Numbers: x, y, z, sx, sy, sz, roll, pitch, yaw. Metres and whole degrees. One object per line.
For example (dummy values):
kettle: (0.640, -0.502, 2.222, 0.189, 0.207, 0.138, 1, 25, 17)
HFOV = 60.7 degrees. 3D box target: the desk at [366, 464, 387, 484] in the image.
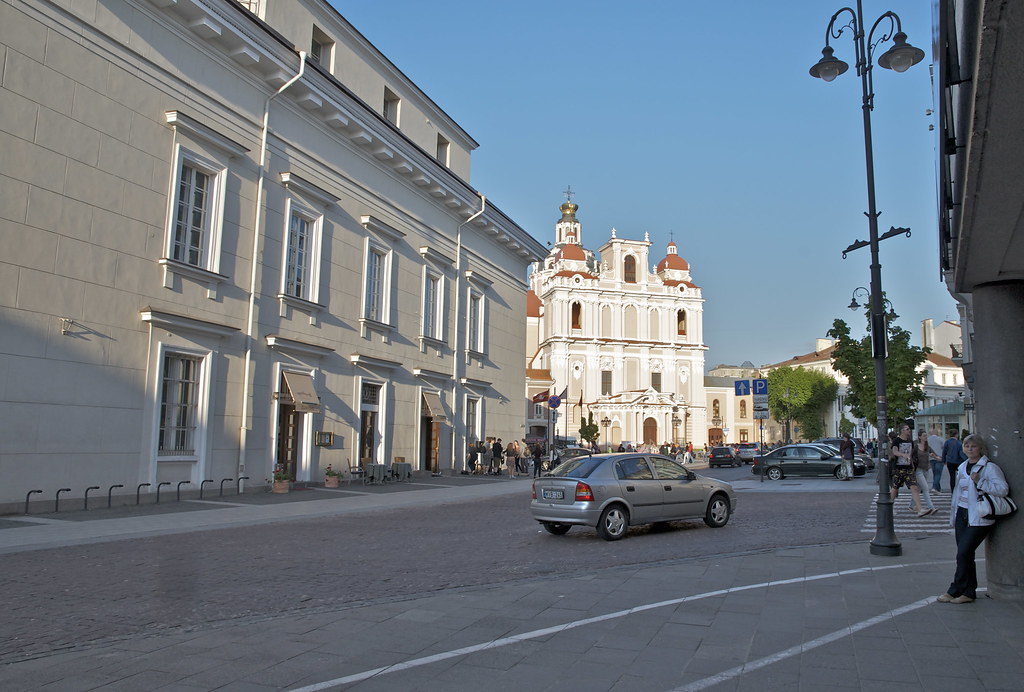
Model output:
desk: (-4.707, 4.432, 30.656, 0.279, 0.678, 1.386, 1, -1, 11)

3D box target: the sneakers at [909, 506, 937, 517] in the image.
sneakers: (10.759, 4.301, 22.758, 0.616, 0.238, 0.204, -15, 3, -16)

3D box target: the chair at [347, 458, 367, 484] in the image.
chair: (-5.409, 4.312, 29.977, 0.674, 0.925, 0.768, -3, -6, 25)

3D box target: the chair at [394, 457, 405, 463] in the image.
chair: (-4.211, 4.229, 32.764, 0.351, 0.204, 1.068, 1, -1, -4)

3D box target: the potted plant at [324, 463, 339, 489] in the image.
potted plant: (-5.899, 4.238, 28.483, 0.558, 0.814, 0.604, -1, 5, -6)

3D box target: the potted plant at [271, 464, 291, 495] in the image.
potted plant: (-6.975, 3.986, 26.377, 0.692, 1.040, 0.700, -2, -1, -2)

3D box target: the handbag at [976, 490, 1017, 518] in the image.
handbag: (7.280, 2.368, 13.138, 0.402, 0.386, 0.157, 4, -9, -3)

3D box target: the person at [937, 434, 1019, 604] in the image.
person: (7.012, 2.595, 13.219, 1.161, 2.399, 0.739, 1, -1, -35)

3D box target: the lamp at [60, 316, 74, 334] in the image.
lamp: (-10.444, -0.507, 20.398, 0.194, 0.364, 0.391, -3, -6, 26)

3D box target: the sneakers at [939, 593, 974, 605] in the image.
sneakers: (6.586, 3.744, 12.942, 0.459, 0.192, 0.182, 6, -14, 3)
